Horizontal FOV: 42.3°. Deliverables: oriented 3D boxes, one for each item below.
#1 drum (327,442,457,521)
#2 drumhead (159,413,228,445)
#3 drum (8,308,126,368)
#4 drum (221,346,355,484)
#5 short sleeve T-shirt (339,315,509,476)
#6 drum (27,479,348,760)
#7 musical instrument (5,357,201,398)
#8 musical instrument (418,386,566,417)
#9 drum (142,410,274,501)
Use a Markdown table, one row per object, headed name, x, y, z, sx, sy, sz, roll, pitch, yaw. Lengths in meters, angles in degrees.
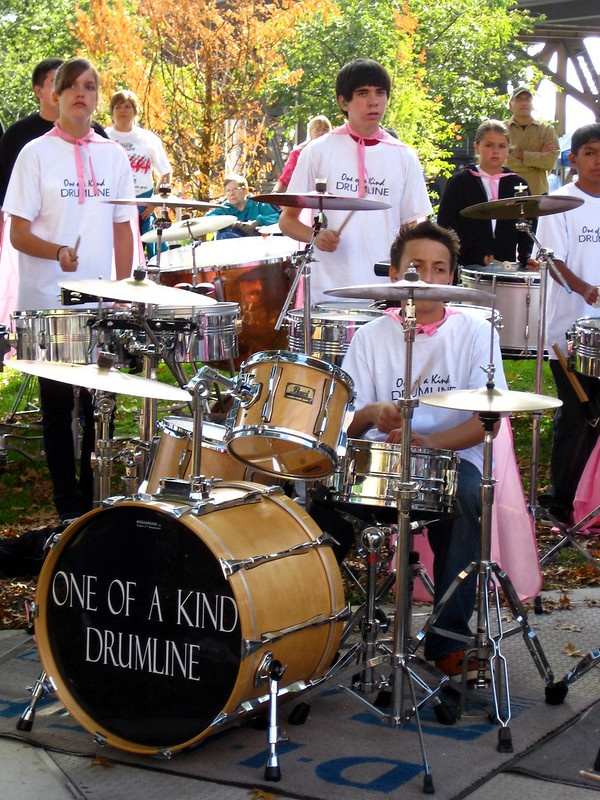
| name | x | y | z | sx | sy | sz | roll | pitch | yaw |
| --- | --- | --- | --- | --- | --- | --- | --- | --- | --- |
| drum | 0.276 | 0.207 | 2.238 | 0.282 | 0.086 | 0.259 | 8 | 2 | 0 |
| drumhead | -0.349 | 0.098 | 2.608 | 0.163 | 0.045 | 0.148 | 12 | -3 | -13 |
| drum | -1.093 | -0.296 | 3.560 | 0.530 | 0.171 | 0.413 | -2 | 0 | 12 |
| drum | -0.056 | 0.050 | 2.173 | 0.371 | 0.358 | 0.312 | -1 | -3 | 24 |
| short sleeve T-shirt | 0.388 | -0.011 | 2.447 | 0.639 | 0.590 | 0.388 | -1 | 4 | 21 |
| drum | -0.278 | 0.490 | 2.308 | 0.969 | 0.790 | 0.745 | -5 | -2 | 31 |
| musical instrument | -0.534 | -0.055 | 2.073 | 0.329 | 0.126 | 0.488 | 2 | -4 | -42 |
| musical instrument | 0.510 | -0.002 | 2.061 | 0.375 | 0.071 | 0.272 | -1 | -3 | 10 |
| drum | -0.315 | 0.186 | 2.619 | 0.302 | 0.238 | 0.280 | 16 | -4 | 1 |
